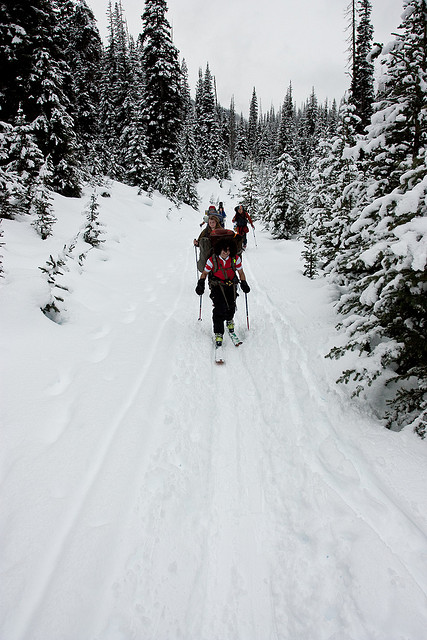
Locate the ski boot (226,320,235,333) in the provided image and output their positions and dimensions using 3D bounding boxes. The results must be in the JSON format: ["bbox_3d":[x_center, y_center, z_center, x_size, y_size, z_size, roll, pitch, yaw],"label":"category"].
[{"bbox_3d":[0.278,0.098,6.967,0.102,0.187,0.165,-1,-4,-1],"label":"ski boot"}]

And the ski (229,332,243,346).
[{"bbox_3d":[0.356,0.301,6.784,0.085,0.079,0.299,-20,29,-1],"label":"ski"}]

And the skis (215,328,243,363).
[{"bbox_3d":[0.131,0.405,6.423,0.171,0.163,0.853,14,23,-9],"label":"skis"}]

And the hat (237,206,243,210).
[{"bbox_3d":[0.805,-3.418,12.975,0.144,0.141,0.233,9,14,3],"label":"hat"}]

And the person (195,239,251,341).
[{"bbox_3d":[0.143,-0.434,6.651,0.715,1.677,0.661,-12,24,-36],"label":"person"}]

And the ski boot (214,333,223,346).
[{"bbox_3d":[0.082,0.293,6.421,0.121,0.276,0.133,-1,7,-1],"label":"ski boot"}]

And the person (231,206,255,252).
[{"bbox_3d":[0.955,-2.930,13.788,0.566,1.601,0.530,-2,36,4],"label":"person"}]

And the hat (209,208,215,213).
[{"bbox_3d":[-0.037,-2.485,9.678,0.113,0.151,0.139,2,-4,-8],"label":"hat"}]
